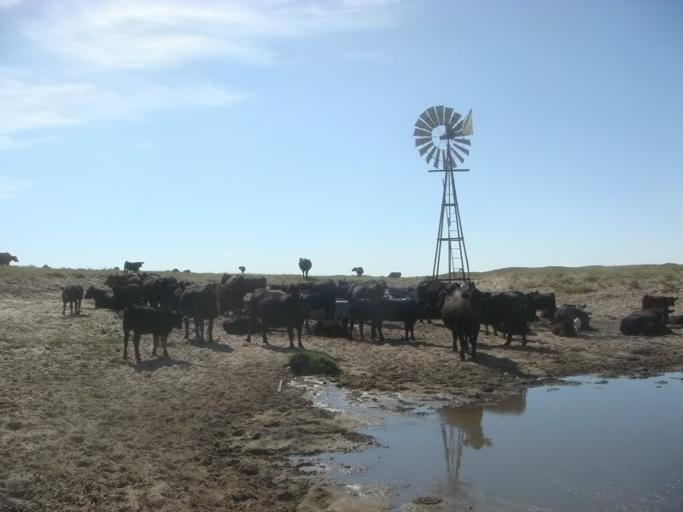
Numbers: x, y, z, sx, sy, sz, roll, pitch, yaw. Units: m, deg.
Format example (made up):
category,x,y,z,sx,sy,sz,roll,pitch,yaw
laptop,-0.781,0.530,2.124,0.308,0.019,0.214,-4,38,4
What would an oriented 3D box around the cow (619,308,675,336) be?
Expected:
category,x,y,z,sx,sy,sz,roll,pitch,yaw
cow,14.550,3.218,32.347,1.522,0.970,1.495,1,1,4
